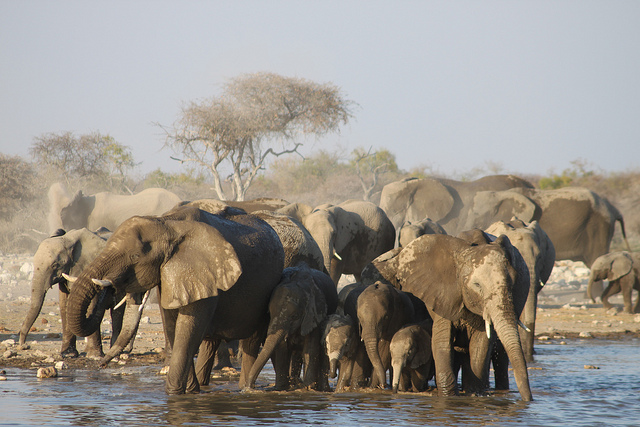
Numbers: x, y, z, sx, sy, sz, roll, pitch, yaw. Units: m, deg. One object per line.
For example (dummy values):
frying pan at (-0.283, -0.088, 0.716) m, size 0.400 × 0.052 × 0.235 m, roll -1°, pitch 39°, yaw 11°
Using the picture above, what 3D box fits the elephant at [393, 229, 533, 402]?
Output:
elephant at (2.224, 1.554, 16.974) m, size 1.996 × 2.669 × 4.025 m, roll -3°, pitch 5°, yaw -13°

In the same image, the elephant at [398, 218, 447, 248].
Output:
elephant at (2.170, 0.402, 24.298) m, size 0.638 × 0.866 × 1.399 m, roll -8°, pitch -2°, yaw 27°

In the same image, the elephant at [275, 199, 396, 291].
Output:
elephant at (0.155, 0.917, 22.286) m, size 1.734 × 2.313 × 4.002 m, roll -6°, pitch -7°, yaw 12°

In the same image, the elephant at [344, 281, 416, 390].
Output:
elephant at (1.019, 1.946, 16.983) m, size 1.062 × 1.476 × 2.507 m, roll -4°, pitch -6°, yaw 14°

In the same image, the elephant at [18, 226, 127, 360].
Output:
elephant at (-4.489, 1.611, 20.283) m, size 1.490 × 2.534 × 2.960 m, roll 2°, pitch -1°, yaw 42°

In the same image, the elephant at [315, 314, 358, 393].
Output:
elephant at (0.281, 2.171, 16.505) m, size 0.645 × 1.214 × 0.730 m, roll 3°, pitch -15°, yaw -9°

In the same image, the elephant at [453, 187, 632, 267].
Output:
elephant at (6.538, 0.134, 29.897) m, size 5.416 × 3.128 × 2.529 m, roll 2°, pitch -1°, yaw -1°

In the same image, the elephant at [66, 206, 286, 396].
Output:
elephant at (-2.064, 1.346, 16.500) m, size 3.708 × 3.064 × 2.201 m, roll 6°, pitch 5°, yaw -33°

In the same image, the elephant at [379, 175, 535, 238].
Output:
elephant at (4.078, -0.282, 32.373) m, size 4.485 × 2.652 × 2.177 m, roll -1°, pitch 4°, yaw -10°

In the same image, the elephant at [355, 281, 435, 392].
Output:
elephant at (1.039, 1.714, 17.116) m, size 1.132 × 1.515 × 2.363 m, roll 0°, pitch 10°, yaw 16°
